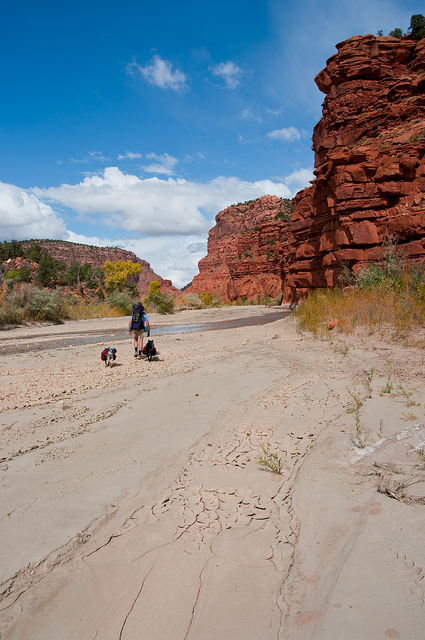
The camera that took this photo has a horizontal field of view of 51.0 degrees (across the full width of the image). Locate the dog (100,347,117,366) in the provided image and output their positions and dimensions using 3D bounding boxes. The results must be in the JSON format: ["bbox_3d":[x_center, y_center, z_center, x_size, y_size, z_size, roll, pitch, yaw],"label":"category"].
[{"bbox_3d":[-2.019,0.717,8.629,0.239,0.356,0.304,-6,9,-15],"label":"dog"}]

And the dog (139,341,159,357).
[{"bbox_3d":[-1.325,0.620,9.300,0.243,0.322,0.311,-6,9,-15],"label":"dog"}]
